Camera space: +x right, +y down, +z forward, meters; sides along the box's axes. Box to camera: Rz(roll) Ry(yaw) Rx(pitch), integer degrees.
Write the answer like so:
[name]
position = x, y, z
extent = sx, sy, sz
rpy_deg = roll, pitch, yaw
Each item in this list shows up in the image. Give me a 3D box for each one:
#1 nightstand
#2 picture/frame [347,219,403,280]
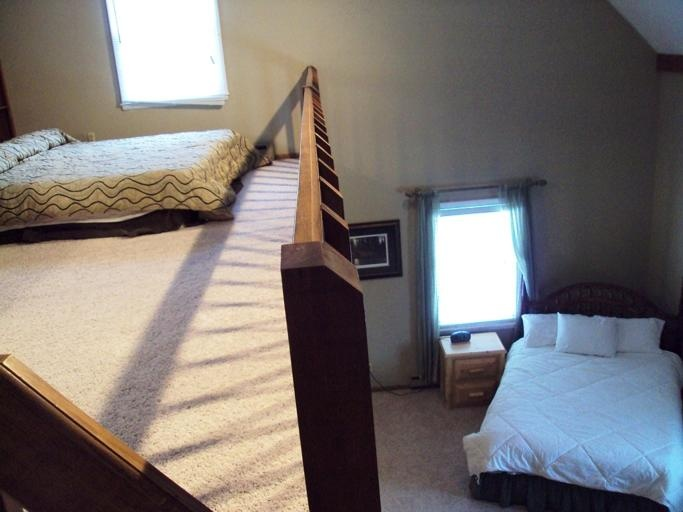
[nightstand]
position = 1.303, 1.213, 5.739
extent = 0.850, 0.924, 0.654
rpy_deg = -4, 24, -3
[picture/frame]
position = 0.351, -0.105, 5.095
extent = 0.591, 0.631, 0.050
rpy_deg = -3, 11, -3
